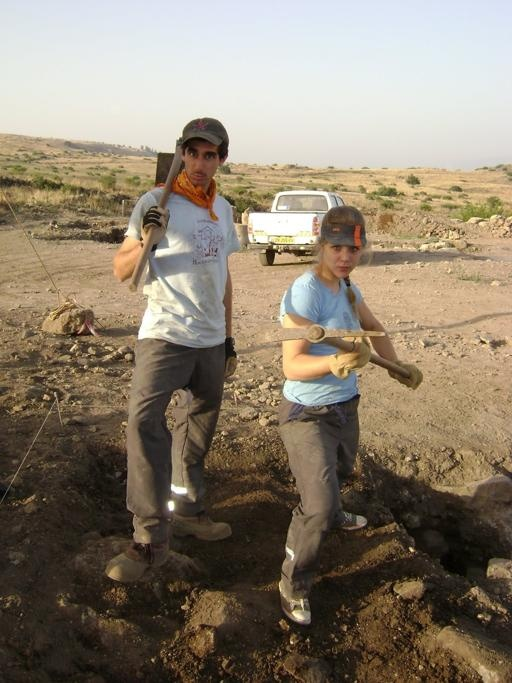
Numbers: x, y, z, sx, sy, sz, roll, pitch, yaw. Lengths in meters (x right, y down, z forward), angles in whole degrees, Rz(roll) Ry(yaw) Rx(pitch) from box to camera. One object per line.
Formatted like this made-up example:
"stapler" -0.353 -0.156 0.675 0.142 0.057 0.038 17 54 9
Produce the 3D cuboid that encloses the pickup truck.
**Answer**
"pickup truck" 1.077 -2.698 12.332 1.569 1.240 2.997 7 24 21

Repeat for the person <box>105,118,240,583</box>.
"person" -0.390 -0.007 2.576 0.514 2.020 1.041 3 3 22
